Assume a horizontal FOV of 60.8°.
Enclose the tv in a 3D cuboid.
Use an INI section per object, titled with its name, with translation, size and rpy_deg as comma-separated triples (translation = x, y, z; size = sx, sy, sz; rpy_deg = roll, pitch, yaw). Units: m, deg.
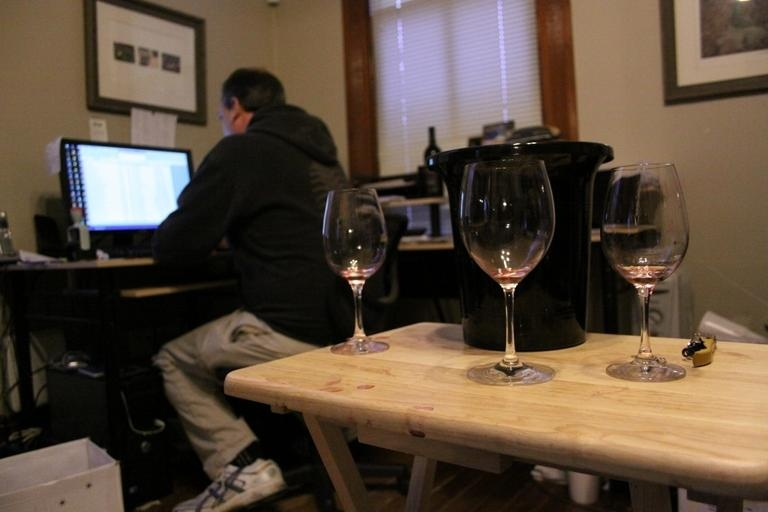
[tv]
translation = -1.204, -0.254, 3.010
size = 0.176, 0.454, 0.611
rpy_deg = 1, 1, 38
